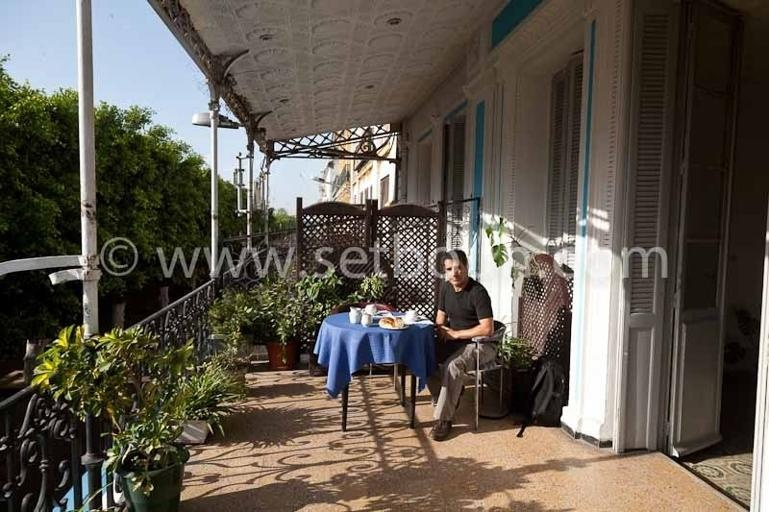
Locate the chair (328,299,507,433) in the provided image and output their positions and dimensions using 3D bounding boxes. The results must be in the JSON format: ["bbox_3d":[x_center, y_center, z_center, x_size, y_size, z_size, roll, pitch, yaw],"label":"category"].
[{"bbox_3d":[0.541,1.066,6.858,1.478,1.046,1.635,0,3,-5],"label":"chair"}]

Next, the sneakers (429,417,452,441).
[{"bbox_3d":[0.593,1.913,6.325,0.125,0.200,0.302,-8,-23,37],"label":"sneakers"}]

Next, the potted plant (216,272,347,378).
[{"bbox_3d":[-1.474,0.822,8.224,1.749,1.280,1.295,-1,-6,-11],"label":"potted plant"}]

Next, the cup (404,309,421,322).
[{"bbox_3d":[0.296,0.678,6.548,0.117,0.128,0.157,1,-3,40],"label":"cup"}]

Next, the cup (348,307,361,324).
[{"bbox_3d":[-0.321,0.664,6.515,0.157,0.164,0.122,2,4,-11],"label":"cup"}]

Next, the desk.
[{"bbox_3d":[-0.080,1.289,6.369,1.326,1.186,0.513,0,-3,-8],"label":"desk"}]

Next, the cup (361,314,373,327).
[{"bbox_3d":[-0.192,0.701,6.296,0.098,0.129,0.135,1,-5,2],"label":"cup"}]

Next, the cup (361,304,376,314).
[{"bbox_3d":[-0.179,0.604,6.496,0.123,0.130,0.097,-18,-22,25],"label":"cup"}]

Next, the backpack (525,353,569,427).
[{"bbox_3d":[1.852,1.562,6.621,0.395,0.744,0.207,-3,-4,32],"label":"backpack"}]
